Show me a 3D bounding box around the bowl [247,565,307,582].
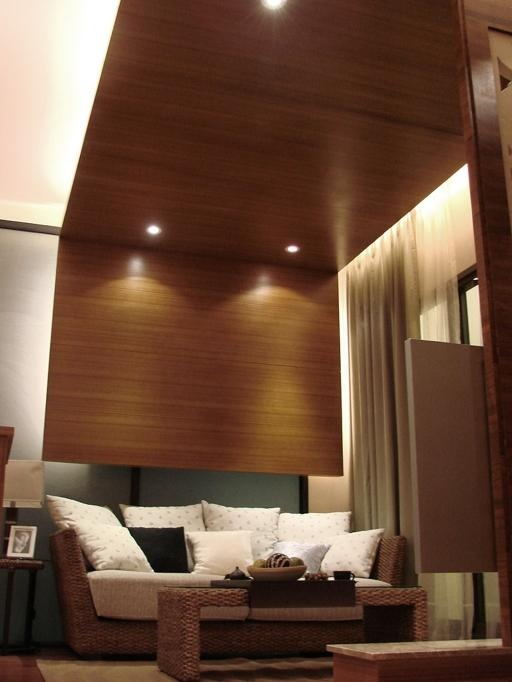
[{"bbox_3d":[0.097,1.117,2.831,0.276,0.074,0.106,-2,-13,3],"label":"bowl"}]

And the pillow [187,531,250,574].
[{"bbox_3d":[-0.246,1.384,3.841,0.413,0.277,0.178,2,-33,-12],"label":"pillow"}]

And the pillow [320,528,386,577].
[{"bbox_3d":[0.620,1.353,3.771,0.115,0.345,0.368,44,-41,-22],"label":"pillow"}]

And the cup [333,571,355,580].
[{"bbox_3d":[0.458,1.226,3.053,0.105,0.052,0.082,10,-29,-7],"label":"cup"}]

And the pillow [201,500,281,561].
[{"bbox_3d":[-0.113,1.324,4.304,0.595,0.518,0.288,8,-32,-14],"label":"pillow"}]

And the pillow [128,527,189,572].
[{"bbox_3d":[-0.602,1.348,3.819,0.326,0.314,0.134,3,-37,-35],"label":"pillow"}]

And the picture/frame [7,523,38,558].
[{"bbox_3d":[-1.450,1.243,3.656,0.156,0.195,0.170,4,-14,-20],"label":"picture/frame"}]
